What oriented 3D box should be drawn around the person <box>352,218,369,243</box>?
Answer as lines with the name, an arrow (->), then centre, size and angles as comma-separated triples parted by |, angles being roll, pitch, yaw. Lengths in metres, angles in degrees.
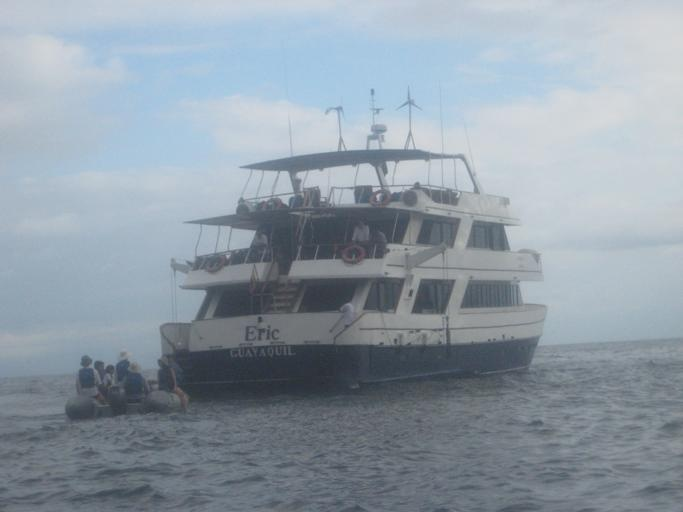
person -> 0.733, -0.758, 44.557 | 0.727, 0.884, 0.733 | 1, -1, 15

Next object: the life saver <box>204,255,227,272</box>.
life saver -> -4.330, 0.329, 44.463 | 0.754, 0.531, 0.930 | -2, 8, -6

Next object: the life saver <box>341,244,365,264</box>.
life saver -> 0.438, -0.009, 42.759 | 0.542, 0.252, 0.692 | 0, 30, 7

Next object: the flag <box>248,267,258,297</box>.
flag -> -2.964, 0.918, 43.561 | 0.281, 1.025, 0.791 | -2, 8, -4

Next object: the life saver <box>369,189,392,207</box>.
life saver -> 1.382, -1.932, 44.379 | 0.679, 0.518, 0.580 | -3, 8, -10

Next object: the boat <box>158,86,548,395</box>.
boat -> 2.324, 0.602, 47.869 | 7.446, 7.994, 16.585 | -1, -1, 36
